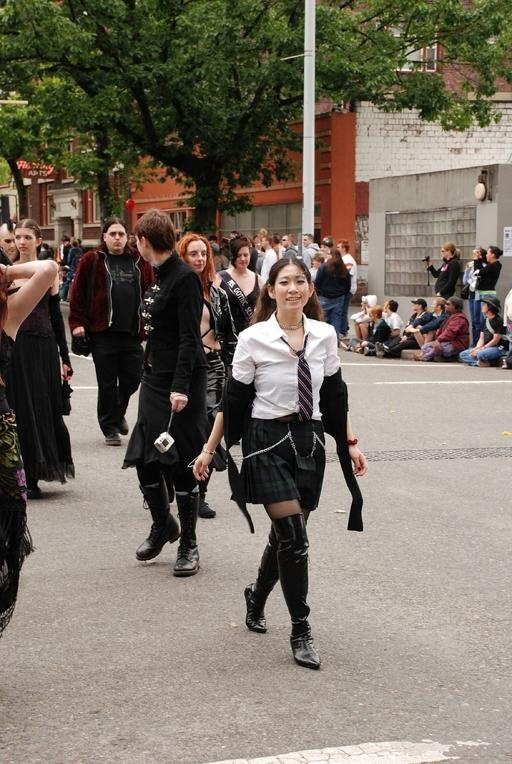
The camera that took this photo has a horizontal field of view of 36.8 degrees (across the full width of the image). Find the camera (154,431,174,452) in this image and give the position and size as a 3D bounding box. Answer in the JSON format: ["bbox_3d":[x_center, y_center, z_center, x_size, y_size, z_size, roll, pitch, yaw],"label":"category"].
[{"bbox_3d":[-0.472,0.310,3.964,0.049,0.066,0.085,-20,32,32],"label":"camera"}]

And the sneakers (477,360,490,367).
[{"bbox_3d":[4.419,-0.345,14.897,0.238,0.129,0.163,0,1,14],"label":"sneakers"}]

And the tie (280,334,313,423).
[{"bbox_3d":[0.177,-0.009,2.897,0.077,0.306,0.054,0,1,-29],"label":"tie"}]

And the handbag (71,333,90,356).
[{"bbox_3d":[-1.752,-0.364,7.726,0.174,0.209,0.230,1,13,-8],"label":"handbag"}]

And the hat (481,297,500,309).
[{"bbox_3d":[4.541,-1.470,14.841,0.304,0.289,0.335,0,1,14],"label":"hat"}]

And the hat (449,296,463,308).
[{"bbox_3d":[4.046,-1.571,15.547,0.187,0.241,0.452,1,1,32],"label":"hat"}]

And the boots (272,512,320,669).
[{"bbox_3d":[0.151,0.759,2.879,0.172,0.553,0.246,0,1,1],"label":"boots"}]

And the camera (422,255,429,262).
[{"bbox_3d":[4.180,-3.009,18.867,0.236,0.107,0.346,1,9,9],"label":"camera"}]
